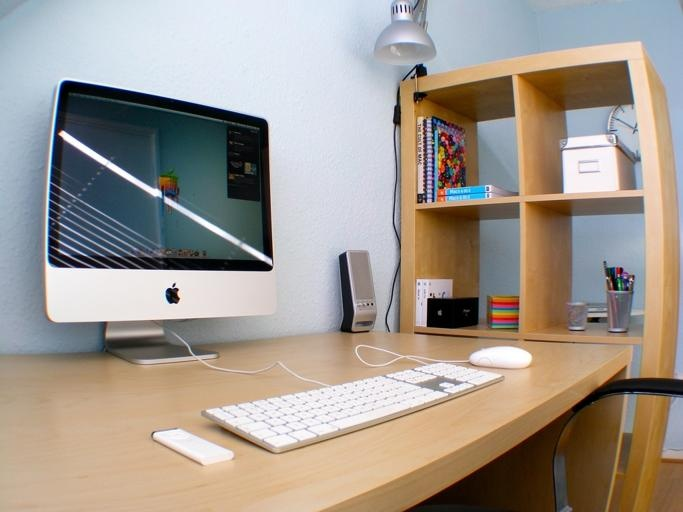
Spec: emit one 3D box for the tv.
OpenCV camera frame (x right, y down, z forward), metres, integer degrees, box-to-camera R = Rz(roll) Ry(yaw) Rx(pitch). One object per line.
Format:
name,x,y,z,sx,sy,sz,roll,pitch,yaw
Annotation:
tv,-0.443,-0.075,1.244,0.613,0.680,0.214,8,-19,-37

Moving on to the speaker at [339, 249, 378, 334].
speaker,0.053,0.119,1.821,0.118,0.277,0.132,-1,6,-9

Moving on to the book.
book,0.524,-0.292,2.132,0.333,0.431,0.433,-1,1,30

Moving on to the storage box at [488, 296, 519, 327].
storage box,0.606,0.212,2.016,0.128,0.114,0.135,1,-1,7
